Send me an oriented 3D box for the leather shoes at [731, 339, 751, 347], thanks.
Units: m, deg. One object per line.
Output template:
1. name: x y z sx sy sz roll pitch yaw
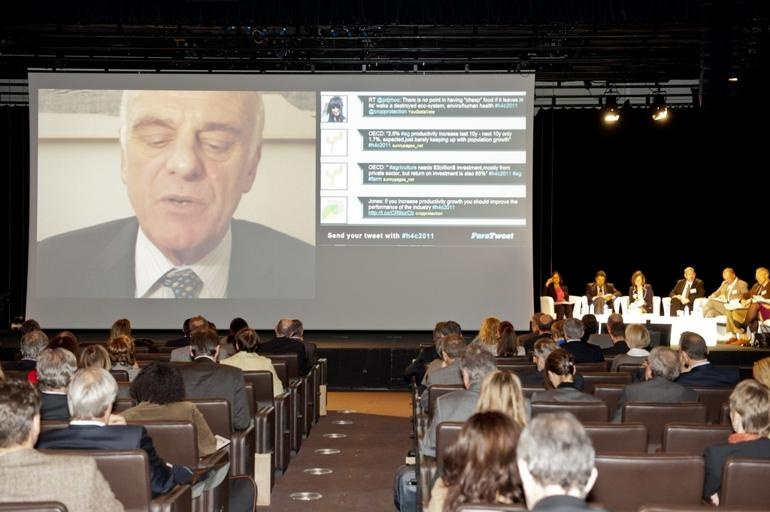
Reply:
1. leather shoes: 6.680 1.651 13.339 0.266 0.106 0.101 3 -3 23
